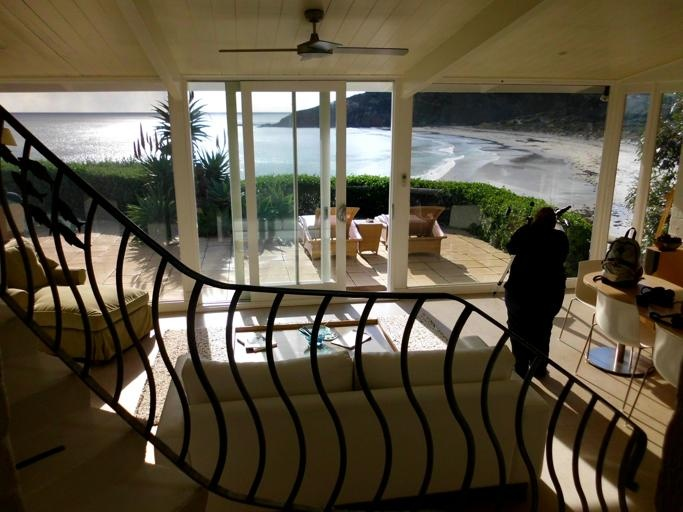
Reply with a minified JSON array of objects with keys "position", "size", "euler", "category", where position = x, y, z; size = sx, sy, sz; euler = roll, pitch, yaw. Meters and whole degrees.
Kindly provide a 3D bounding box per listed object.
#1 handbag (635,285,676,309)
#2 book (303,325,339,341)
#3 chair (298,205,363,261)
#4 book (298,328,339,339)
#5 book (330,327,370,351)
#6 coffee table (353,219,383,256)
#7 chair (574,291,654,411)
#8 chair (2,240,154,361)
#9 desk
[{"position":[2.769,0.368,3.910],"size":[0.269,0.149,0.258],"euler":[10,15,40],"category":"handbag"},{"position":[-0.192,0.801,4.626],"size":[0.317,0.081,0.332],"euler":[8,-2,10],"category":"book"},{"position":[-0.196,-0.396,6.881],"size":[0.637,0.727,1.079],"euler":[-3,24,-10],"category":"chair"},{"position":[-0.198,0.796,4.547],"size":[0.278,0.069,0.290],"euler":[7,-4,22],"category":"book"},{"position":[0.086,0.850,4.523],"size":[0.364,0.096,0.393],"euler":[-15,20,-24],"category":"book"},{"position":[0.467,-0.370,8.078],"size":[0.544,0.710,0.479],"euler":[-2,19,-6],"category":"coffee table"},{"position":[2.633,0.930,4.232],"size":[0.650,0.981,0.538],"euler":[-22,32,-26],"category":"chair"},{"position":[-2.313,0.394,3.854],"size":[1.166,0.945,0.770],"euler":[9,32,4],"category":"chair"},{"position":[2.735,0.646,4.152],"size":[0.606,0.822,0.646],"euler":[-17,29,-20],"category":"desk"}]
